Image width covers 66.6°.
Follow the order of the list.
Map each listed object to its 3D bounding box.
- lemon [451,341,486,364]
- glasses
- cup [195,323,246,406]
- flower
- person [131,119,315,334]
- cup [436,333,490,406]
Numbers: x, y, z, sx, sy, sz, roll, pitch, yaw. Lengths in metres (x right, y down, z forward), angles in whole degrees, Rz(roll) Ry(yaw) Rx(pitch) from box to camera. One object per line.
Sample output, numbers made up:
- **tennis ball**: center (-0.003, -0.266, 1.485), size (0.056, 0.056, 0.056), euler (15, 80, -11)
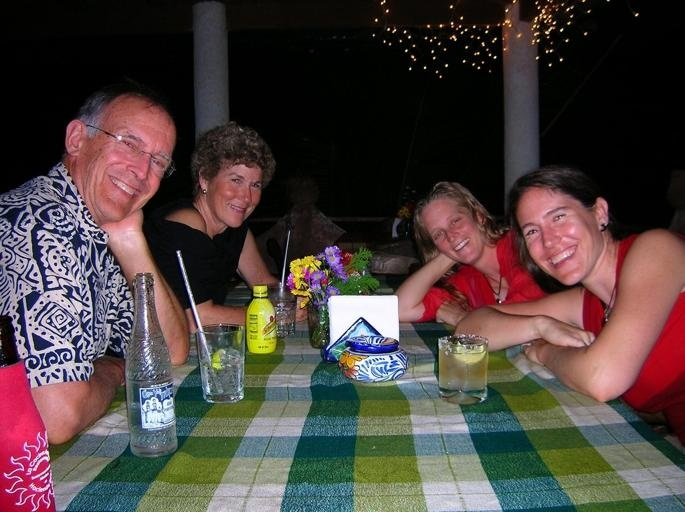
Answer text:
- **lemon**: center (0.364, 0.276, 1.487), size (0.070, 0.028, 0.067), euler (-2, 9, -10)
- **glasses**: center (-0.779, -0.352, 1.840), size (0.174, 0.053, 0.173), euler (34, -4, 14)
- **cup**: center (-0.368, 0.330, 1.594), size (0.160, 0.219, 0.144), euler (-3, -11, -9)
- **flower**: center (-0.077, 0.151, 2.042), size (0.275, 0.376, 0.405), euler (1, 3, 12)
- **person**: center (-0.651, -0.178, 2.842), size (0.947, 1.028, 0.741), euler (5, 13, 6)
- **cup**: center (0.368, 0.338, 1.586), size (0.160, 0.168, 0.154), euler (0, 4, 0)
